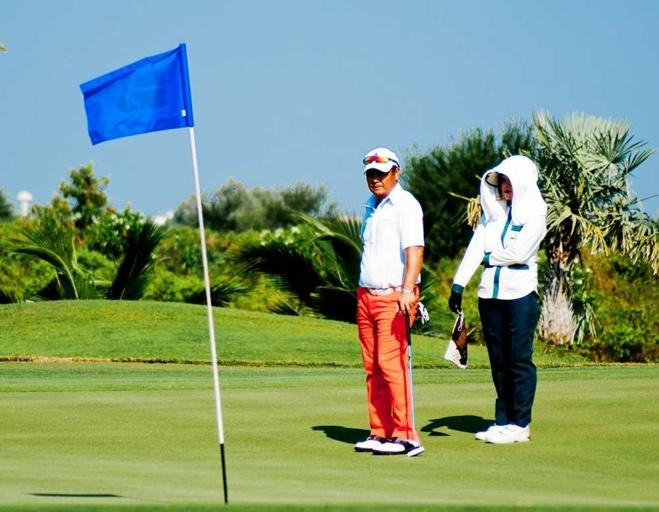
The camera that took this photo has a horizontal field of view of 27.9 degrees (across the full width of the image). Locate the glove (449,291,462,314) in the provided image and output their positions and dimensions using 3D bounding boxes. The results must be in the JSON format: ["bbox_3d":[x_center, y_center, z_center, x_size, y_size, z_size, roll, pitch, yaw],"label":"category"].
[{"bbox_3d":[1.272,0.451,13.176,0.104,0.198,0.158,0,5,15],"label":"glove"}]

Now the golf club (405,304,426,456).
[{"bbox_3d":[0.748,1.115,12.798,0.267,1.662,0.217,-7,30,-4],"label":"golf club"}]

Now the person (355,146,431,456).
[{"bbox_3d":[0.559,0.412,12.782,0.572,2.928,1.004,-2,2,-29],"label":"person"}]

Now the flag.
[{"bbox_3d":[-1.755,-1.461,12.094,1.049,0.874,0.223,1,4,17],"label":"flag"}]

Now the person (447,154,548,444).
[{"bbox_3d":[1.709,0.346,13.265,0.759,3.208,0.887,2,1,2],"label":"person"}]

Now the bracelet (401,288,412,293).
[{"bbox_3d":[0.749,0.322,12.466,0.091,0.038,0.033,-1,5,0],"label":"bracelet"}]

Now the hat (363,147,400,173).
[{"bbox_3d":[0.513,-0.898,12.626,0.329,0.221,0.199,-1,5,-1],"label":"hat"}]
